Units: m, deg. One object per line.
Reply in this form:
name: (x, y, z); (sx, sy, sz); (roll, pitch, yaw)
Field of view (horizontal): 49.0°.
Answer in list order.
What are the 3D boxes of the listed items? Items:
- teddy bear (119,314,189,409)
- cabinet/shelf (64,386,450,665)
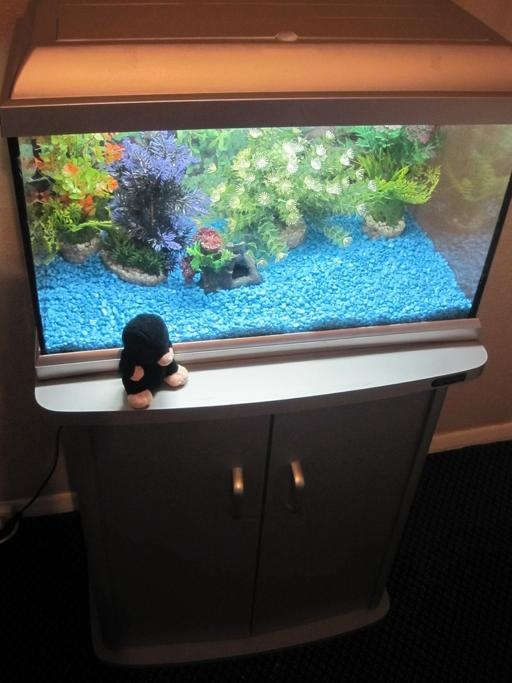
teddy bear: (-0.187, 0.026, 0.966); (0.112, 0.142, 0.131); (23, 35, 29)
cabinet/shelf: (-0.029, 0.333, 1.473); (0.875, 0.903, 0.544); (-4, 34, -10)
